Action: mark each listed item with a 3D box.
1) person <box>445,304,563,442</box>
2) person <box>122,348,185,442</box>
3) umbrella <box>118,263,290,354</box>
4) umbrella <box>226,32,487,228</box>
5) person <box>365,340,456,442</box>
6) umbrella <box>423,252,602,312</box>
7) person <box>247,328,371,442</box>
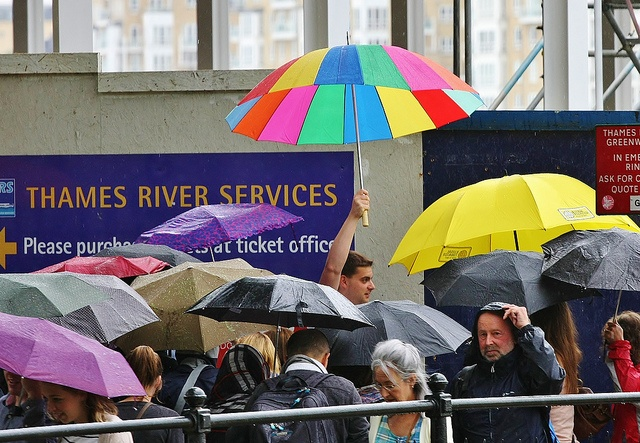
[{"bbox_3d":[1.849,1.563,17.551,1.029,1.882,0.761,-8,-37,11],"label":"person"},{"bbox_3d":[-1.698,1.793,17.700,0.939,0.916,0.470,1,6,8],"label":"person"},{"bbox_3d":[-1.330,1.139,19.250,1.236,0.754,1.159,-16,39,-1],"label":"umbrella"},{"bbox_3d":[0.326,-1.284,19.064,2.313,1.642,2.235,-8,-9,-6],"label":"umbrella"},{"bbox_3d":[0.760,1.678,17.355,0.613,1.016,0.871,-2,-5,2],"label":"person"},{"bbox_3d":[1.855,0.664,18.691,0.979,0.299,0.976,-10,4,-40],"label":"umbrella"},{"bbox_3d":[-0.108,1.679,17.633,1.068,0.970,0.562,3,-9,5],"label":"person"}]
